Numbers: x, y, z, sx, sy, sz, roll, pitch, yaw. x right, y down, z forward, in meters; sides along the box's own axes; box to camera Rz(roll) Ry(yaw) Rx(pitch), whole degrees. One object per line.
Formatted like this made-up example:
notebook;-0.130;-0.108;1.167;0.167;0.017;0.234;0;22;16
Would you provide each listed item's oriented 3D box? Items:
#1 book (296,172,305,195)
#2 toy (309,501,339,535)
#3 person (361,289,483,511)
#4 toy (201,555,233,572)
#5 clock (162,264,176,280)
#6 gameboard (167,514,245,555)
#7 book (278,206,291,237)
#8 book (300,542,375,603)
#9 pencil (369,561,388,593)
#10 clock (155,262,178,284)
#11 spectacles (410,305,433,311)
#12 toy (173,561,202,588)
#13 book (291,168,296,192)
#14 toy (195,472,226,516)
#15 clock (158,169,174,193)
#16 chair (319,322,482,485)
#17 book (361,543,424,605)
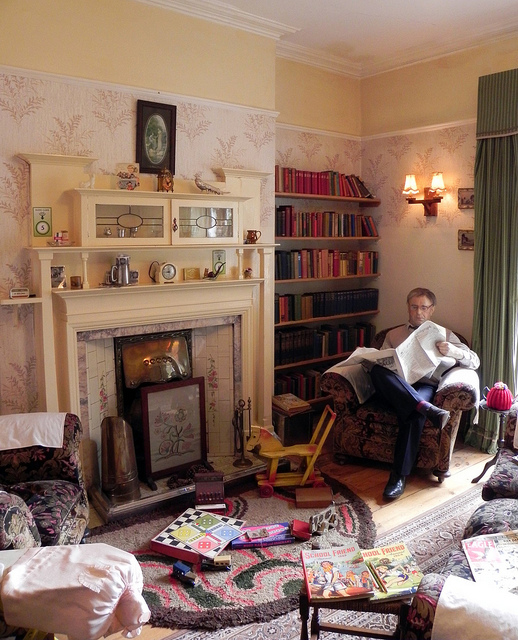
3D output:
book;0.309;-1.020;3.821;0.076;0.147;0.021;-7;13;-41
toy;0.288;0.974;2.541;0.069;0.113;0.225;-8;0;36
person;0.983;0.364;3.174;0.660;0.676;1.409;9;25;24
toy;-0.190;1.023;2.180;0.106;0.045;0.063;0;6;0
clock;-0.505;-0.267;2.858;0.010;0.069;0.073;19;44;33
gameboard;-0.243;0.991;2.390;0.247;0.029;0.290;9;11;38
book;0.181;-0.722;3.736;0.127;0.187;0.206;-1;10;-4
book;0.231;0.758;1.534;0.187;0.029;0.231;-8;8;-2
pencil;0.350;0.759;1.535;0.012;0.006;0.069;-34;37;-3
clock;-0.521;-0.262;2.864;0.120;0.108;0.067;-8;23;-35
spectacles;1.033;-0.080;3.320;0.110;0.034;0.046;4;9;14
toy;-0.295;1.042;2.119;0.126;0.053;0.064;7;10;28
book;0.253;-1.021;3.766;0.033;0.125;0.135;4;10;10
toy;-0.260;0.914;2.713;0.161;0.214;0.177;0;7;-10
clock;-0.505;-0.752;2.779;0.078;0.116;0.071;0;10;-11
chair;1.018;0.478;3.419;0.962;0.796;0.923;4;9;32
book;0.385;0.768;1.556;0.146;0.077;0.180;3;6;5
